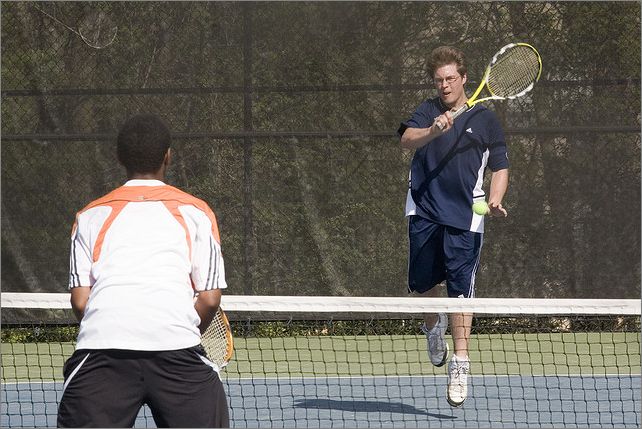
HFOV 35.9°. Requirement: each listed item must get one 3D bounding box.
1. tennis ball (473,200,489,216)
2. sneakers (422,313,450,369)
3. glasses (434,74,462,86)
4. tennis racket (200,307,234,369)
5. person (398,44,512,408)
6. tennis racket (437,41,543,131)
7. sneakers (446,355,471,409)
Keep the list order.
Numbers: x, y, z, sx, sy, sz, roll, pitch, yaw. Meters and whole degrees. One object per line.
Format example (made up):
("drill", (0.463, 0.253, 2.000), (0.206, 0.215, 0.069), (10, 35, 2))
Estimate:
("tennis ball", (1.227, -0.047, 7.509), (0.115, 0.104, 0.105), (7, -42, 6))
("sneakers", (0.892, 0.982, 7.618), (0.142, 0.456, 0.180), (-1, 2, 27))
("glasses", (0.971, -1.026, 7.568), (0.201, 0.074, 0.075), (1, 10, 9))
("tennis racket", (-0.631, 0.768, 6.125), (0.065, 0.358, 0.252), (-11, 32, -25))
("person", (1.057, 0.078, 7.638), (0.770, 2.700, 0.955), (-4, 11, -20))
("tennis racket", (1.320, -0.976, 8.331), (1.184, 0.359, 0.094), (-35, 19, 13))
("sneakers", (1.008, 1.248, 7.324), (0.128, 0.418, 0.177), (3, -34, -3))
